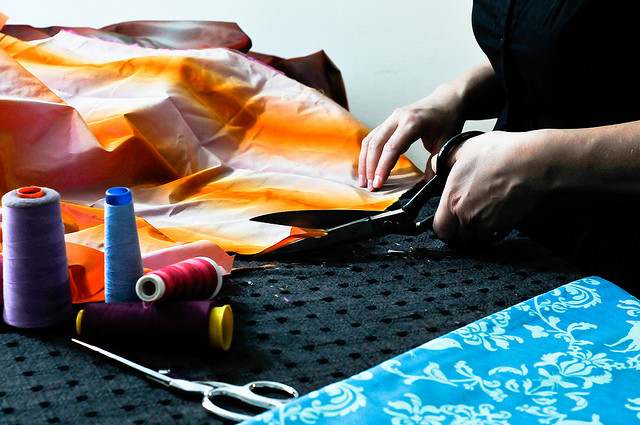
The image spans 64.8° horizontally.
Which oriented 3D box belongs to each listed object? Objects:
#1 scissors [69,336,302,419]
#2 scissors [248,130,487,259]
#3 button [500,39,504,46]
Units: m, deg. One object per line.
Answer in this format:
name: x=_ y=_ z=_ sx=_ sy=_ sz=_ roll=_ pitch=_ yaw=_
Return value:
scissors: x=-0.152 y=0.191 z=0.599 sx=0.259 sy=0.010 sz=0.091 roll=10 pitch=6 yaw=17
scissors: x=0.040 y=0.017 z=0.869 sx=0.461 sy=0.126 sz=0.084 roll=0 pitch=52 yaw=-41
button: x=0.339 y=-0.318 z=0.944 sx=0.004 sy=0.008 sz=0.011 roll=23 pitch=70 yaw=29
